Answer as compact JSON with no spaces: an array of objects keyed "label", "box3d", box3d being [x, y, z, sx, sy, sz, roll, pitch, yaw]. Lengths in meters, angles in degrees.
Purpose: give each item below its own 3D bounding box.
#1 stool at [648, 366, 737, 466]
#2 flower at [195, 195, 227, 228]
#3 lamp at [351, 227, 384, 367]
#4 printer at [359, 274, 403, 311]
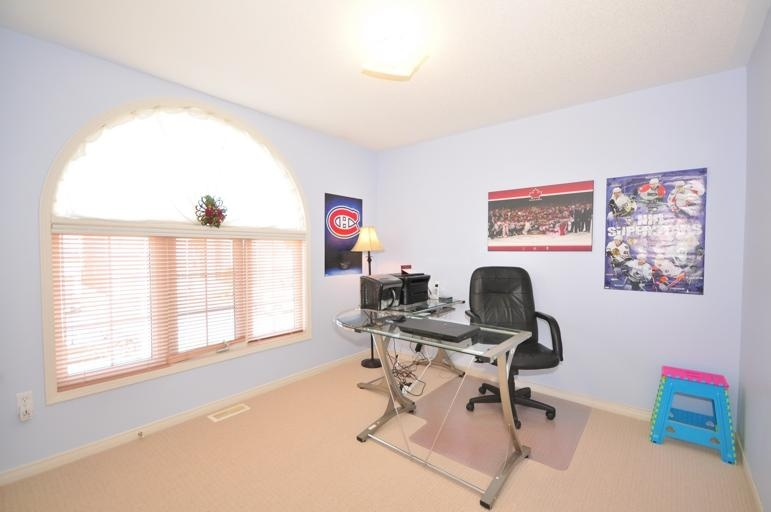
[{"label":"stool","box3d":[2.864,1.522,4.350,0.691,0.621,0.651,2,-16,37]},{"label":"flower","box3d":[-1.772,-0.456,4.678,0.138,0.302,0.309,-5,10,38]},{"label":"lamp","box3d":[-0.193,0.518,5.860,0.494,1.722,0.500,0,-2,-42]},{"label":"printer","box3d":[-0.066,0.390,4.919,0.376,0.342,0.372,-5,-6,36]}]
